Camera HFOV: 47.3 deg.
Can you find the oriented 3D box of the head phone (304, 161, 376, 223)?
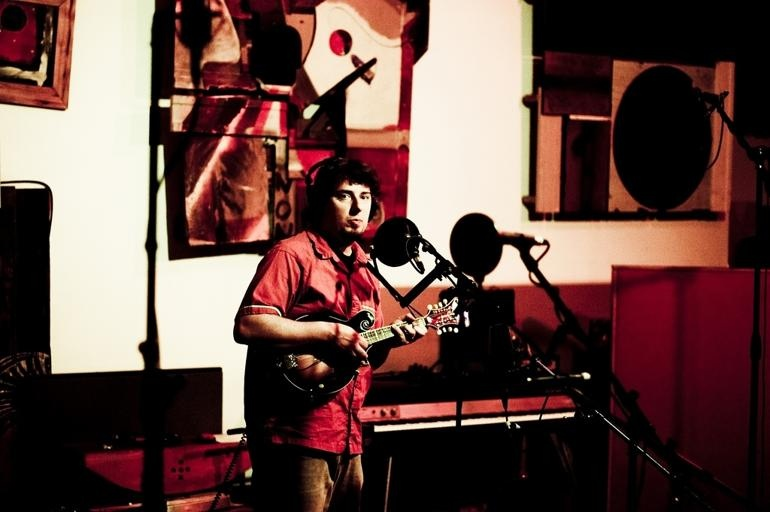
[{"bbox_3d":[-0.248,-0.383,4.651,0.276,0.395,0.176,8,17,4],"label":"head phone"}]

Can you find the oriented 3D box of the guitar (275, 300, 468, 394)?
[{"bbox_3d":[-0.046,0.418,4.688,1.103,0.426,0.134,-20,14,-29],"label":"guitar"}]
